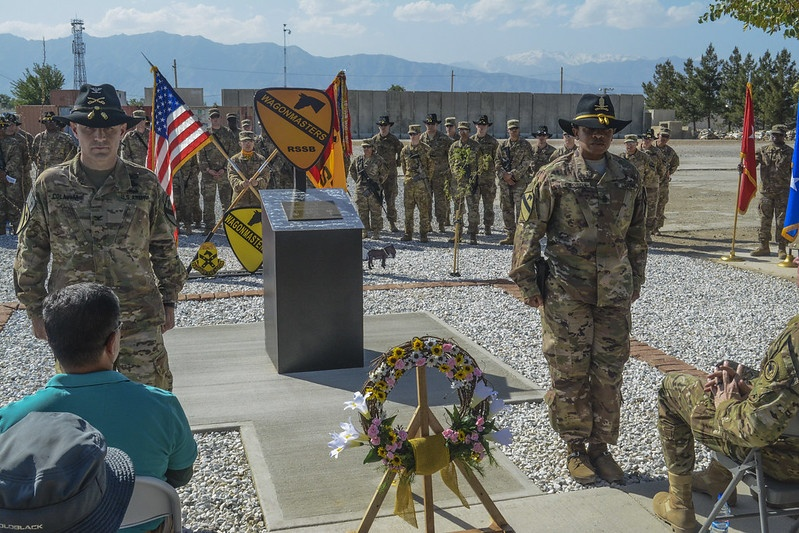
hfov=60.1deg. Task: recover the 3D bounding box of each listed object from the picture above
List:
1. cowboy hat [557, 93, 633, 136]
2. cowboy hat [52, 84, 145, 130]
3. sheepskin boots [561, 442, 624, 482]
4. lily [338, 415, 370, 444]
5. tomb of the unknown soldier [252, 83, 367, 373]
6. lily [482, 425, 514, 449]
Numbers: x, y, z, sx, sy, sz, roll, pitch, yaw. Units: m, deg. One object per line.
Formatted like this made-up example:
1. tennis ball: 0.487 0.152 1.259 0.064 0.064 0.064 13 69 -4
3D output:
1. cowboy hat: 1.560 -1.213 5.431 0.412 0.285 0.301 3 12 15
2. cowboy hat: -2.185 -1.167 4.985 0.420 0.321 0.557 -5 13 -24
3. sheepskin boots: 1.521 1.554 5.540 0.304 0.245 0.570 -2 1 6
4. lily: -0.293 1.074 4.523 0.238 0.147 0.131 14 -37 -26
5. tomb of the unknown soldier: -1.160 -0.746 8.836 1.152 2.913 4.021 -2 12 -8
6. lily: 0.599 1.128 4.559 0.261 0.063 0.152 -16 -14 12
